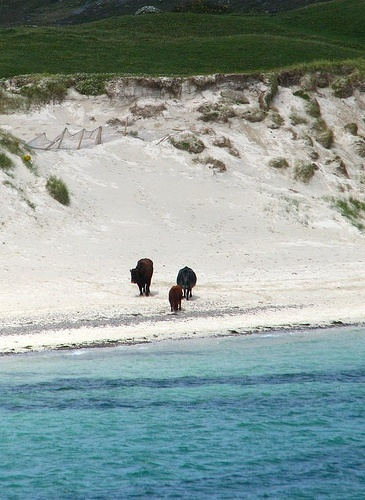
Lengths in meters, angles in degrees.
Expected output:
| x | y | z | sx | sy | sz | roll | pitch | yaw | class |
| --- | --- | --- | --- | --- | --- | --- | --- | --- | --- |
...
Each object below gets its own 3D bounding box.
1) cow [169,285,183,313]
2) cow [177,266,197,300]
| x | y | z | sx | sy | sz | roll | pitch | yaw | class |
| --- | --- | --- | --- | --- | --- | --- | --- | --- | --- |
| -0.211 | 1.359 | 24.920 | 0.358 | 0.743 | 0.616 | 0 | 15 | -2 | cow |
| 0.109 | 0.950 | 26.281 | 0.568 | 0.984 | 0.842 | 0 | 15 | -1 | cow |
